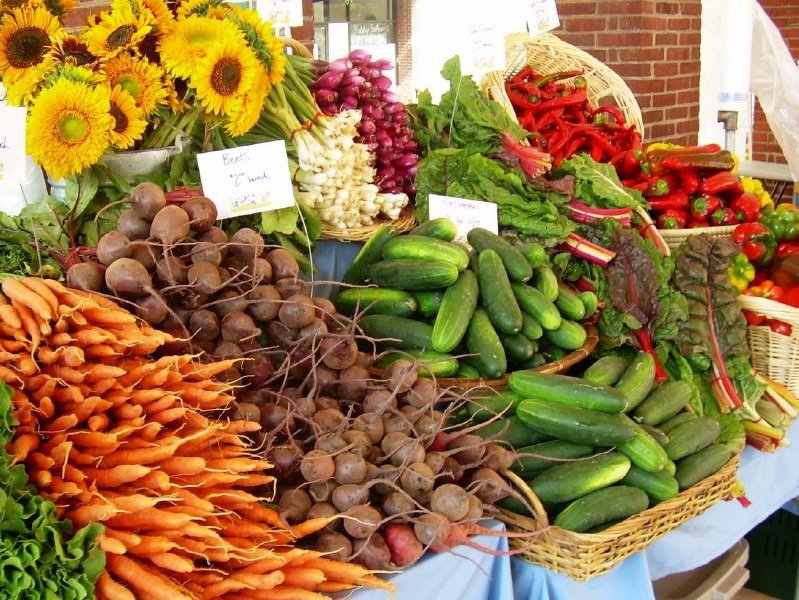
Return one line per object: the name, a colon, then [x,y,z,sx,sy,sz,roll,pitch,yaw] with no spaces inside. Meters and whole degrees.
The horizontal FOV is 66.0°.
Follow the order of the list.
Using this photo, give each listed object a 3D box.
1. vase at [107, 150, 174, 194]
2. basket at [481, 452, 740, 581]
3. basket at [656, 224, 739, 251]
vase: [-1.023,-0.506,2.406,0.281,0.148,0.208,-12,16,-39]
basket: [0.719,0.715,2.111,1.037,0.363,0.281,-10,14,-29]
basket: [1.645,-0.336,3.292,0.509,0.104,0.283,-7,12,-20]
